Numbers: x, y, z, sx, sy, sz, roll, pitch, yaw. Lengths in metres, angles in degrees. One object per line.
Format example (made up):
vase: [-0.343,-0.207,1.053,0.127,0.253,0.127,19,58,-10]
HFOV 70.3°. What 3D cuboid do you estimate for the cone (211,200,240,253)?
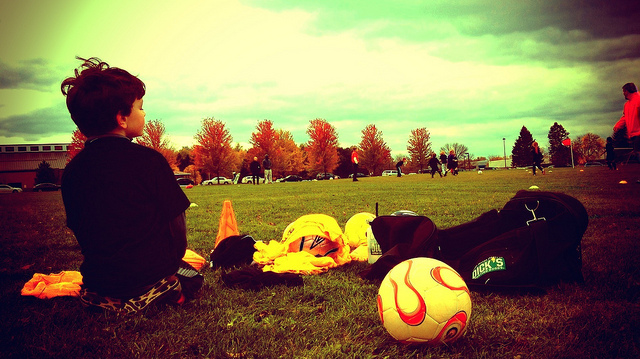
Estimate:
cone: [-2.264,1.082,10.739,0.578,1.064,0.854,-2,6,12]

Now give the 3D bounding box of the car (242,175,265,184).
car: [-7.472,-0.008,50.612,1.848,0.661,0.868,-3,1,23]

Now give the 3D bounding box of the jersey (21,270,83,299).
jersey: [-5.282,2.085,9.017,0.834,0.243,0.660,1,17,-1]

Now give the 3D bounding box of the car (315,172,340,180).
car: [1.007,-0.246,60.019,2.801,0.914,1.266,-3,3,-7]

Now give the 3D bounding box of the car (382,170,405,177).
car: [9.561,-0.862,60.349,3.083,1.164,1.533,-2,-1,35]

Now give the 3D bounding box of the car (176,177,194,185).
car: [-14.764,0.174,49.541,1.900,0.621,0.884,-2,5,-18]
